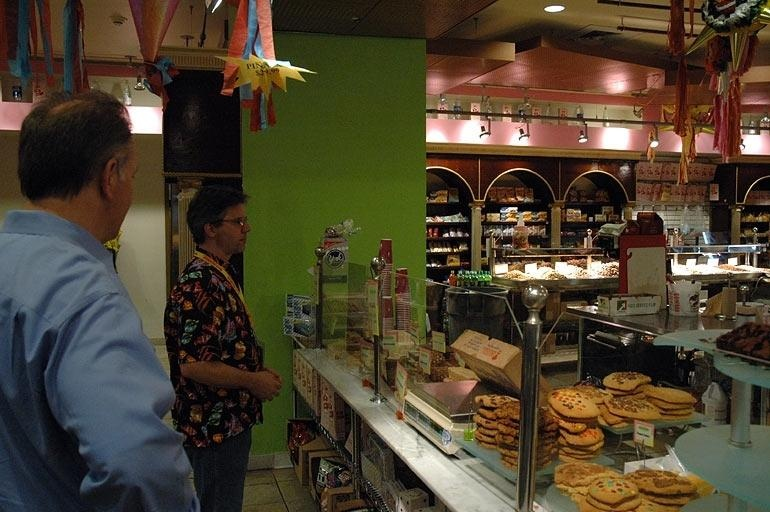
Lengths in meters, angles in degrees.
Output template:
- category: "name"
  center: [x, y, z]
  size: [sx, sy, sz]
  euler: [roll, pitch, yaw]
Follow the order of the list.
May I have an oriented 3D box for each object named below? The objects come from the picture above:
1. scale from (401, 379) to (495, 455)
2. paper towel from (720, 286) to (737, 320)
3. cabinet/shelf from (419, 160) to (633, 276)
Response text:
- category: "scale"
  center: [0.264, 0.699, 2.702]
  size: [0.320, 0.148, 0.308]
  euler: [0, 4, -24]
- category: "paper towel"
  center: [1.937, 0.260, 3.375]
  size: [0.079, 0.173, 0.088]
  euler: [-1, 1, 28]
- category: "cabinet/shelf"
  center: [2.505, -0.728, 10.973]
  size: [3.986, 2.155, 0.700]
  euler: [-2, 1, -18]
